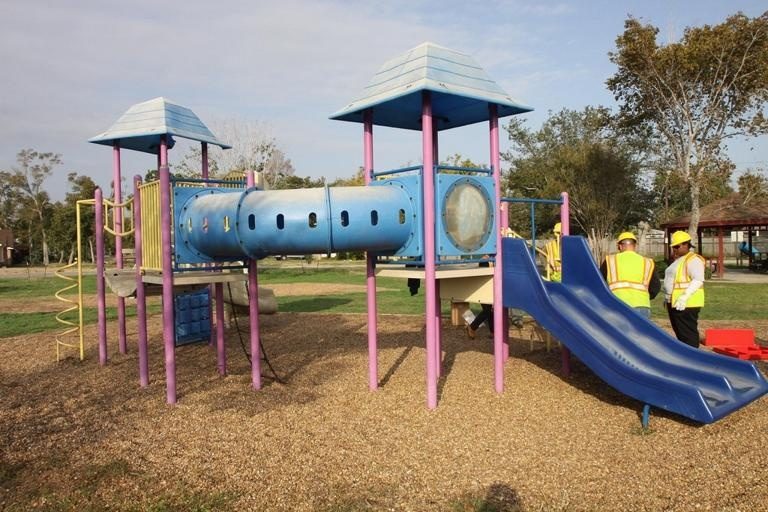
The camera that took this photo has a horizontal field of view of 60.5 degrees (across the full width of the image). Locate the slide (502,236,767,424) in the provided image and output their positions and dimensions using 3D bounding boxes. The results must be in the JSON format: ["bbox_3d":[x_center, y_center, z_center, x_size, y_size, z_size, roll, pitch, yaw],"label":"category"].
[{"bbox_3d":[3.830,1.085,12.525,2.106,3.156,5.871,-8,8,-35],"label":"slide"}]

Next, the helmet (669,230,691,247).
[{"bbox_3d":[5.684,-0.353,12.622,0.530,0.356,0.431,-1,5,26],"label":"helmet"}]
